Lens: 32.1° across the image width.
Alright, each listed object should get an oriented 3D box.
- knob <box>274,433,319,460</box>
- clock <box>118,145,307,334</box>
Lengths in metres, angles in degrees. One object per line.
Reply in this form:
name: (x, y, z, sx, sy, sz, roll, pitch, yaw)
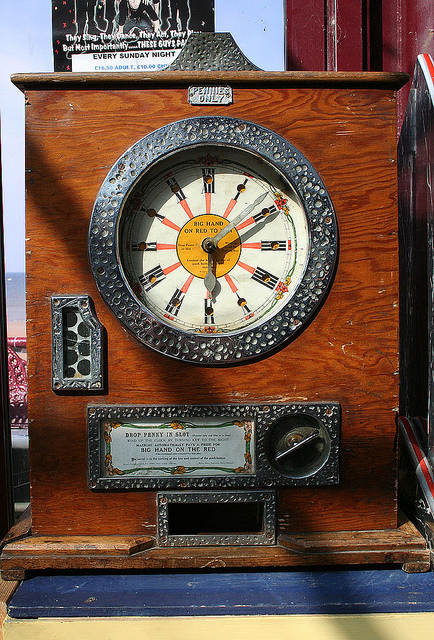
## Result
knob: (0.187, 0.290, 1.752, 0.086, 0.029, 0.057, -28, 90, 2)
clock: (-0.025, -0.175, 1.789, 0.538, 0.034, 0.447, 3, 97, 29)
